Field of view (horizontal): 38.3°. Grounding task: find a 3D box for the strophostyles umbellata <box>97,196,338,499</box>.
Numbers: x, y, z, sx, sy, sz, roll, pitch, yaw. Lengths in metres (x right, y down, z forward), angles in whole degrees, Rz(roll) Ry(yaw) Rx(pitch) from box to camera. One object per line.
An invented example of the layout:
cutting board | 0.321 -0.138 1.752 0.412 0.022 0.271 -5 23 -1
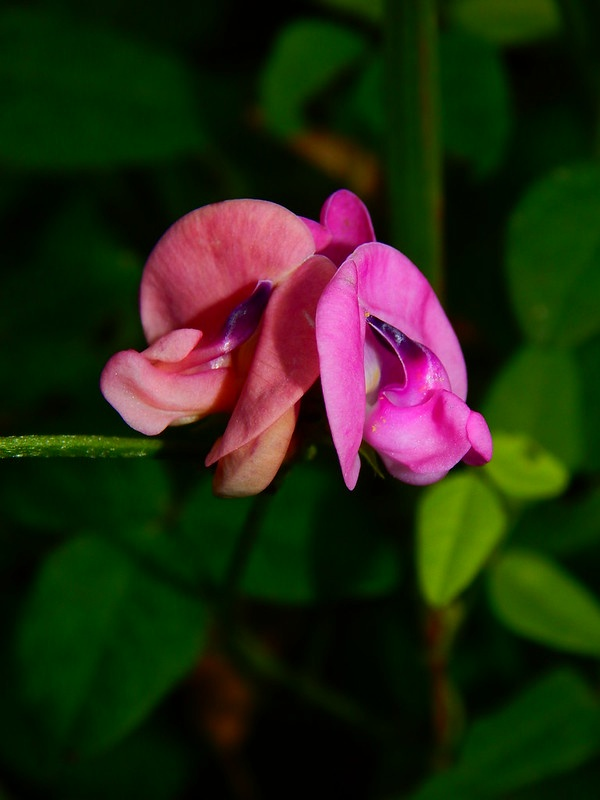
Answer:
strophostyles umbellata | -0.055 -0.033 0.585 0.149 0.169 0.134 6 44 8
